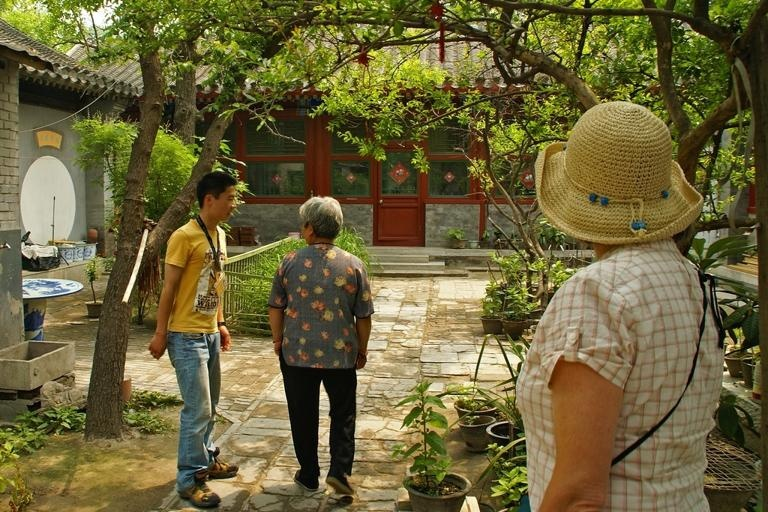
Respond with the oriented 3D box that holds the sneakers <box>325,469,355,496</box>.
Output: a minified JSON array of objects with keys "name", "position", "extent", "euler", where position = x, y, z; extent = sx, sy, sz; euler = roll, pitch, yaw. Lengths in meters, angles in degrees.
[{"name":"sneakers","position":[-0.338,1.772,4.969],"extent":[0.195,0.227,0.176],"euler":[1,8,6]}]

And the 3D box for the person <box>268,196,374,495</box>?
[{"name":"person","position":[-0.502,0.717,5.052],"extent":[0.700,2.331,0.523],"euler":[5,10,32]}]

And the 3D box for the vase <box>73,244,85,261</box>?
[{"name":"vase","position":[-7.164,-0.086,14.947],"extent":[0.306,0.406,0.294],"euler":[1,-4,-14]}]

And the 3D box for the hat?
[{"name":"hat","position":[0.957,-0.325,2.691],"extent":[0.575,0.340,0.723],"euler":[-3,32,1]}]

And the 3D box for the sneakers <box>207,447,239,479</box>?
[{"name":"sneakers","position":[-1.313,1.774,5.403],"extent":[0.361,0.232,0.131],"euler":[0,-1,-14]}]

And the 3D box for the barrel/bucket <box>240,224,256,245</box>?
[{"name":"barrel/bucket","position":[-3.788,-0.534,17.576],"extent":[0.419,0.538,0.521],"euler":[0,-2,-10]}]

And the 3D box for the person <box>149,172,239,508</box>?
[{"name":"person","position":[-1.496,0.622,5.075],"extent":[0.550,2.544,0.704],"euler":[2,9,14]}]

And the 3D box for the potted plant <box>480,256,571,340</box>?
[{"name":"potted plant","position":[2.329,0.639,10.278],"extent":[1.916,1.314,1.428],"euler":[3,1,37]}]

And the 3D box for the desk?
[{"name":"desk","position":[-4.197,0.679,8.090],"extent":[0.673,0.685,1.060],"euler":[-4,9,-25]}]
